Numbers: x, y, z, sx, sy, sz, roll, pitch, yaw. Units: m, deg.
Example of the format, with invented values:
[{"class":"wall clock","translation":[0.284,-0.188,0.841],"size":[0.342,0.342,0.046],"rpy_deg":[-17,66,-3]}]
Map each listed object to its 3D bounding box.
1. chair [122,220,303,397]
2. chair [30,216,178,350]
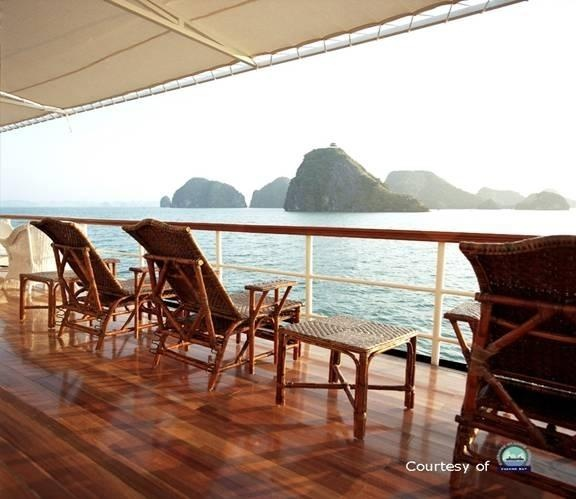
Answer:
[{"class":"chair","translation":[-0.499,0.371,3.086],"size":[0.842,0.795,1.126],"rpy_deg":[2,-4,40]},{"class":"chair","translation":[-1.508,0.279,3.749],"size":[0.776,0.760,1.126],"rpy_deg":[2,-6,38]}]
